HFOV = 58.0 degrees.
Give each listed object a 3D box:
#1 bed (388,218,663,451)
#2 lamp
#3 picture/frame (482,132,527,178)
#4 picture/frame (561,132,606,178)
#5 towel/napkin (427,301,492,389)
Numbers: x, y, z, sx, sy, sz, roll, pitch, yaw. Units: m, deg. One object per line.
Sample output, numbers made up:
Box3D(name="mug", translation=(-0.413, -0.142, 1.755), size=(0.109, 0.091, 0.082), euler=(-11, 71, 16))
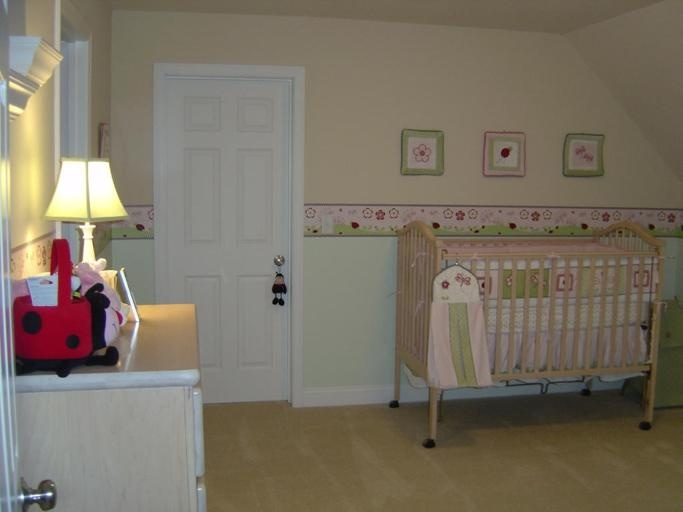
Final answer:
Box3D(name="bed", translation=(1.208, 0.410, 3.969), size=(1.706, 1.285, 0.742), euler=(-2, 12, -10))
Box3D(name="lamp", translation=(-1.009, -0.259, 2.432), size=(0.271, 0.243, 0.160), euler=(-1, 12, -7))
Box3D(name="picture/frame", translation=(1.101, -0.698, 4.219), size=(0.293, 0.311, 0.033), euler=(-2, 7, -7))
Box3D(name="picture/frame", translation=(1.708, -0.708, 4.345), size=(0.332, 0.290, 0.046), euler=(-2, 12, -14))
Box3D(name="towel/napkin", translation=(0.680, 0.519, 3.571), size=(0.361, 0.491, 0.144), euler=(0, 0, -2))
